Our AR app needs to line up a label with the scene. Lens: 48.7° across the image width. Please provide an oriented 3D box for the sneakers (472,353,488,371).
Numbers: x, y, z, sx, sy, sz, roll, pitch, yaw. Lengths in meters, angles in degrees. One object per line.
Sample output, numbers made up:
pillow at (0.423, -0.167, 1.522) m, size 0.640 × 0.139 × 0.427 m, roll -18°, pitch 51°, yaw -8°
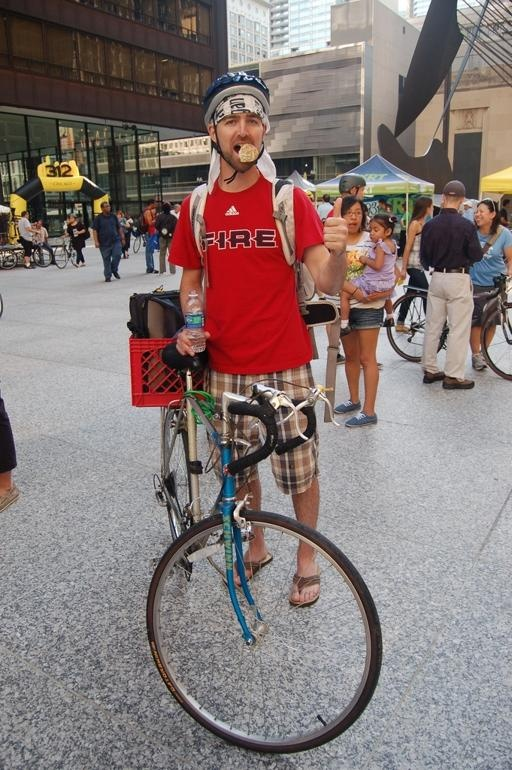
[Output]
sneakers at (2.532, -0.250, 6.407) m, size 0.084 × 0.115 × 0.262 m, roll 2°, pitch 15°, yaw 14°

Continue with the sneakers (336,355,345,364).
sneakers at (0.930, -0.277, 6.178) m, size 0.079 × 0.096 × 0.241 m, roll 1°, pitch 18°, yaw 12°

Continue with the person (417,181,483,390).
person at (2.004, -1.052, 5.848) m, size 0.501 × 2.101 × 0.708 m, roll -5°, pitch 11°, yaw -18°

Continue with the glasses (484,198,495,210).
glasses at (2.607, -1.995, 6.248) m, size 0.043 × 0.147 × 0.141 m, roll -5°, pitch 23°, yaw -16°

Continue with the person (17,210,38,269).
person at (-8.239, -5.189, 20.242) m, size 0.493 × 1.984 × 0.870 m, roll -6°, pitch 12°, yaw -23°

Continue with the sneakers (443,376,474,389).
sneakers at (2.044, -0.026, 5.798) m, size 0.330 × 0.156 × 0.125 m, roll 0°, pitch 15°, yaw 7°

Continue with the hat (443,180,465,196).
hat at (2.064, -2.041, 5.892) m, size 0.181 × 0.153 × 0.267 m, roll 7°, pitch 36°, yaw 17°

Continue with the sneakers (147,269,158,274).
sneakers at (-3.164, -3.442, 17.170) m, size 0.315 × 0.130 × 0.167 m, roll -4°, pitch 22°, yaw -2°

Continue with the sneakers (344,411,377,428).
sneakers at (0.887, 0.297, 4.859) m, size 0.300 × 0.125 × 0.110 m, roll -7°, pitch 5°, yaw -15°

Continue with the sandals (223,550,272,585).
sandals at (-0.016, 0.547, 1.744) m, size 0.080 × 0.055 × 0.208 m, roll -1°, pitch 5°, yaw 34°

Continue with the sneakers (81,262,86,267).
sneakers at (-6.206, -4.281, 20.079) m, size 0.145 × 0.206 × 0.208 m, roll 1°, pitch 11°, yaw -2°

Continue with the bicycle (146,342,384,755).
bicycle at (0.009, 0.492, 1.760) m, size 0.760 × 1.088 × 0.574 m, roll 2°, pitch 11°, yaw 14°

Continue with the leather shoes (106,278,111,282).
leather shoes at (-4.026, -2.844, 15.249) m, size 0.091 × 0.126 × 0.127 m, roll 1°, pitch 7°, yaw -1°

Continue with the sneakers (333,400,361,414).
sneakers at (0.833, 0.211, 5.221) m, size 0.295 × 0.120 × 0.107 m, roll -11°, pitch 6°, yaw -23°

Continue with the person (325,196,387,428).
person at (0.891, -0.648, 4.955) m, size 0.519 × 1.925 × 0.489 m, roll 4°, pitch 2°, yaw 5°

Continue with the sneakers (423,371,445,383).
sneakers at (1.906, -0.099, 6.046) m, size 0.100 × 0.115 × 0.274 m, roll 11°, pitch 20°, yaw 42°
